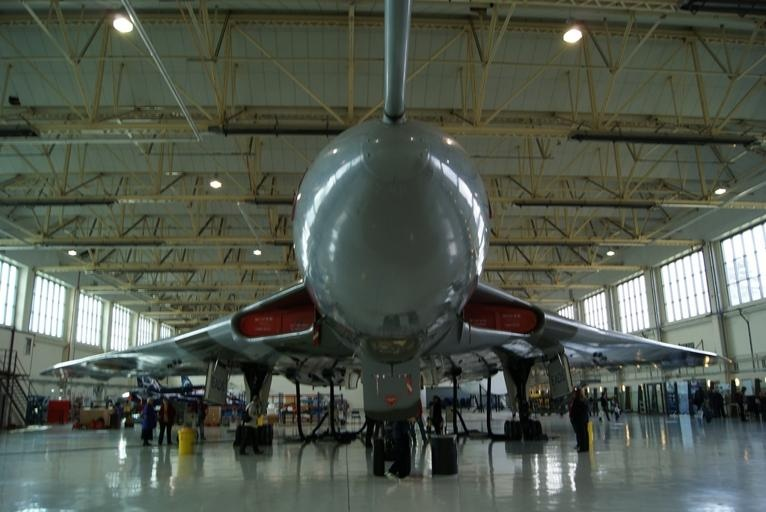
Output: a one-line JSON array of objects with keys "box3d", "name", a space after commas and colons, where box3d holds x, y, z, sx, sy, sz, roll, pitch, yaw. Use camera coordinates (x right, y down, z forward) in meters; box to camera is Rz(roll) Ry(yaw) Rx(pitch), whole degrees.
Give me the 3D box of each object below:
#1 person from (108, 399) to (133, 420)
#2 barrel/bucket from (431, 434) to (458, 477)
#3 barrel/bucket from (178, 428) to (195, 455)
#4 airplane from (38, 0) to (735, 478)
[{"box3d": [-16.095, 9.542, 39.539, 1.261, 0.615, 1.732, 9, -16, -12], "name": "person"}, {"box3d": [1.644, 5.422, 17.315, 0.794, 1.077, 0.877, -2, -5, 9], "name": "barrel/bucket"}, {"box3d": [-6.340, 6.211, 21.426, 0.664, 0.932, 0.683, -2, -13, 0], "name": "barrel/bucket"}, {"box3d": [0.282, 1.578, 20.281, 12.843, 6.582, 15.427, 0, -23, 0], "name": "airplane"}]
